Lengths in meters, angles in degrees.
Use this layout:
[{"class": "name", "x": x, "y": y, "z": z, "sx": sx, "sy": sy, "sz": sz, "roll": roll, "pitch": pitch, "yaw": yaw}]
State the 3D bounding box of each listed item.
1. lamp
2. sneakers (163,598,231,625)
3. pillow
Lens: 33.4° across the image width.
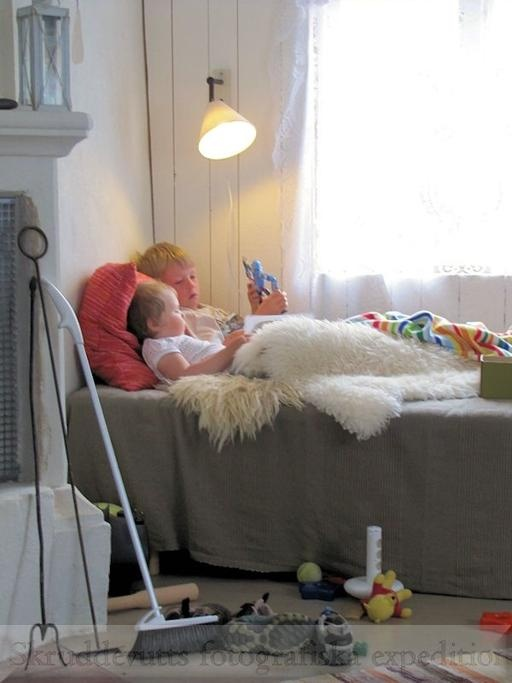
[{"class": "lamp", "x": -0.122, "y": -0.745, "z": 2.729, "sx": 0.204, "sy": 0.204, "sz": 0.203, "roll": -9, "pitch": 24, "yaw": 10}, {"class": "sneakers", "x": -0.109, "y": 0.495, "z": 1.563, "sx": 0.141, "sy": 0.043, "sz": 0.036, "roll": 12, "pitch": -35, "yaw": -40}, {"class": "pillow", "x": -0.350, "y": -0.036, "z": 2.053, "sx": 0.090, "sy": 0.263, "sz": 0.290, "roll": -7, "pitch": -4, "yaw": 33}]
